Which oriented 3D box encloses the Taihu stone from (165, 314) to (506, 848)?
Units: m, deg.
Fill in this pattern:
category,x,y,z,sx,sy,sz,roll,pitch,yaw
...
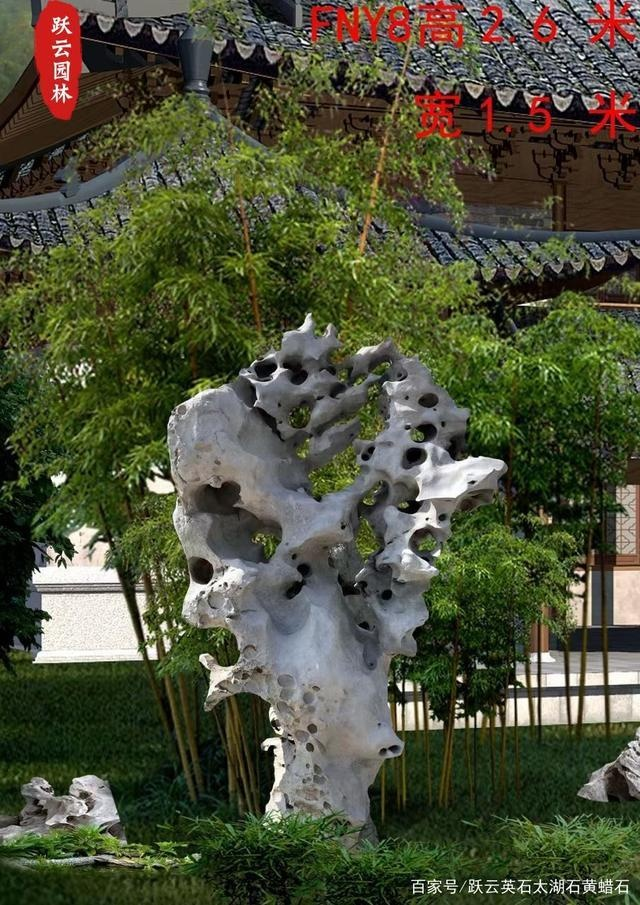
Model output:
category,x,y,z,sx,sy,sz,roll,pitch,yaw
Taihu stone,0.031,0.418,4.961,1.125,1.747,0.500,1,-4,-6
